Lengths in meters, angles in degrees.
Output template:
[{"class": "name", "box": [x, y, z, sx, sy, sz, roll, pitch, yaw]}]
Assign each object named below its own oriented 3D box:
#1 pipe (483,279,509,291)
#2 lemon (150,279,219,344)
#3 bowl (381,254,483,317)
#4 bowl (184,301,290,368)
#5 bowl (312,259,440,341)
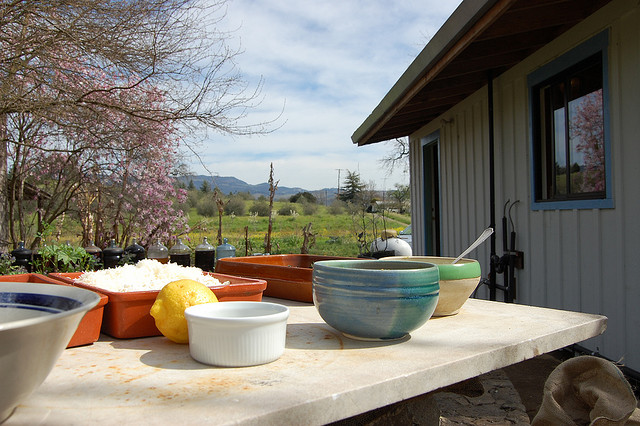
[{"class": "pipe", "box": [2.108, 0.857, 4.969, 0.064, 0.048, 0.331, -15, 8, -19]}, {"class": "lemon", "box": [-0.456, 0.340, 1.481, 0.270, 0.220, 0.231, -5, -2, 17]}, {"class": "bowl", "box": [0.484, 0.314, 1.941, 0.505, 0.255, 0.510, 2, -1, 0]}, {"class": "bowl", "box": [-0.252, 0.396, 1.351, 0.288, 0.128, 0.288, -2, -5, 0]}, {"class": "bowl", "box": [0.184, 0.288, 1.493, 0.334, 0.188, 0.335, 1, -11, 0]}]
